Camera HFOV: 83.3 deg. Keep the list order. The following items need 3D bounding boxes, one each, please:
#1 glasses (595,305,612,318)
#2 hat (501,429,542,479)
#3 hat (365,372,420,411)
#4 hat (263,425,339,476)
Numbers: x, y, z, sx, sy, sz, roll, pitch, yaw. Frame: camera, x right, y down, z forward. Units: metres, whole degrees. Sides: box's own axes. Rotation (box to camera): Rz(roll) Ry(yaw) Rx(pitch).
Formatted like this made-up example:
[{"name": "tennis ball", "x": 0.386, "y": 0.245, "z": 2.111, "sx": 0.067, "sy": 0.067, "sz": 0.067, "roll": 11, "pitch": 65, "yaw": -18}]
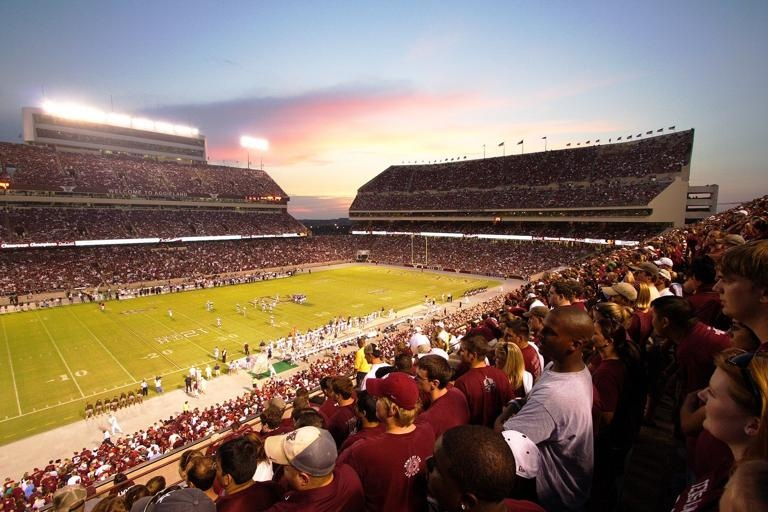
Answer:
[{"name": "glasses", "x": 3.779, "y": 0.959, "z": 7.507, "sx": 0.198, "sy": 0.207, "sz": 0.217, "roll": 16, "pitch": -22, "yaw": -2}, {"name": "hat", "x": 1.773, "y": 2.602, "z": 5.684, "sx": 0.512, "sy": 0.206, "sz": 0.659, "roll": 21, "pitch": 18, "yaw": -9}, {"name": "hat", "x": 0.186, "y": 1.934, "z": 6.294, "sx": 0.708, "sy": 0.358, "sz": 0.427, "roll": 23, "pitch": 25, "yaw": 9}, {"name": "hat", "x": -1.089, "y": 2.678, "z": 5.935, "sx": 0.917, "sy": 0.415, "sz": 0.554, "roll": 22, "pitch": 22, "yaw": -1}]
